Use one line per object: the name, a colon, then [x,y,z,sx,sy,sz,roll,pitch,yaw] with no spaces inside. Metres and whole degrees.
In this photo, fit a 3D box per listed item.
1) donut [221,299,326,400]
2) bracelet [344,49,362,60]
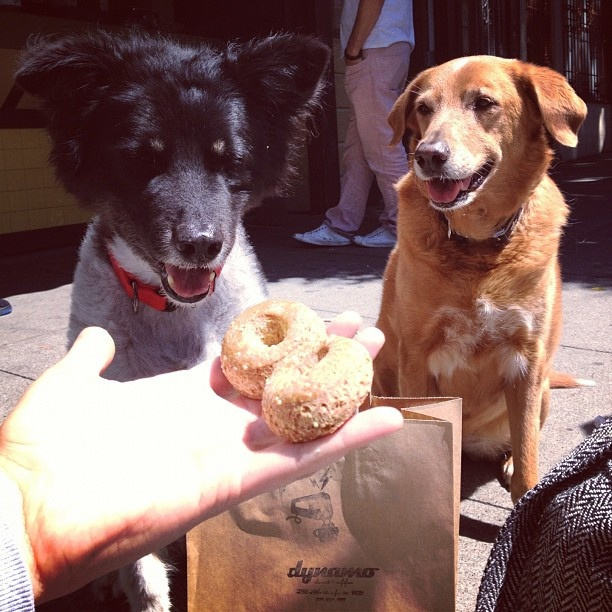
donut: [-0.135,0.140,2.039,0.151,0.370,0.369,11,40,7]
bracelet: [0.508,-2.768,6.667,0.254,0.143,0.075,22,41,32]
